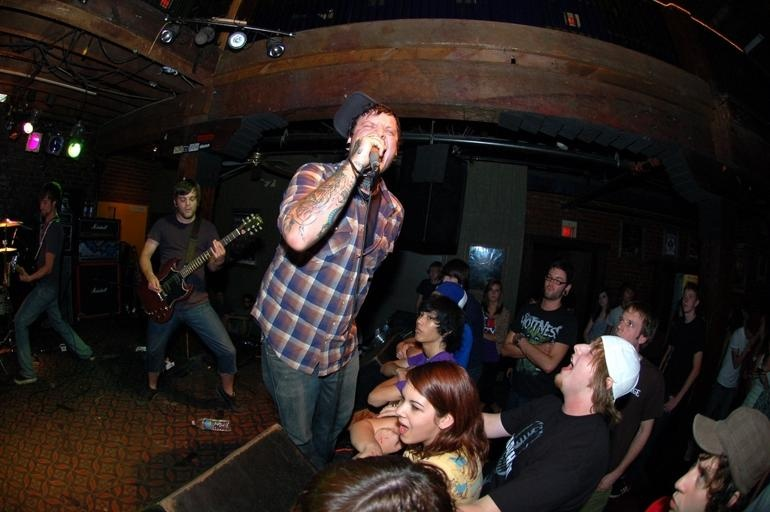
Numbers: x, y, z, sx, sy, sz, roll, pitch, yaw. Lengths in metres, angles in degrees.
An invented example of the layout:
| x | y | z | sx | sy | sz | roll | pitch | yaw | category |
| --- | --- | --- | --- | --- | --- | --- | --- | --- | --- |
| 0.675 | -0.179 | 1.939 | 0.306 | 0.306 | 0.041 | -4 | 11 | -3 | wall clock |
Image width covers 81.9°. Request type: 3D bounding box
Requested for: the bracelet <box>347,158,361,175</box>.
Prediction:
| x | y | z | sx | sy | sz | roll | pitch | yaw | category |
| --- | --- | --- | --- | --- | --- | --- | --- | --- | --- |
| -0.213 | -0.626 | 3.103 | 0.022 | 0.093 | 0.093 | -34 | 18 | 3 | bracelet |

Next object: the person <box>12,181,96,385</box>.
| x | y | z | sx | sy | sz | roll | pitch | yaw | category |
| --- | --- | --- | --- | --- | --- | --- | --- | --- | --- |
| -4.524 | 0.241 | 6.048 | 0.779 | 2.463 | 1.454 | 3 | 6 | -40 | person |

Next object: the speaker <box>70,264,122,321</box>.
| x | y | z | sx | sy | sz | roll | pitch | yaw | category |
| --- | --- | --- | --- | --- | --- | --- | --- | --- | --- |
| -5.878 | 0.683 | 8.880 | 0.895 | 1.279 | 0.906 | -8 | -8 | 41 | speaker |

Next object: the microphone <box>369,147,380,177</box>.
| x | y | z | sx | sy | sz | roll | pitch | yaw | category |
| --- | --- | --- | --- | --- | --- | --- | --- | --- | --- |
| -0.073 | -0.674 | 3.184 | 0.067 | 0.207 | 0.088 | 3 | -2 | -5 | microphone |

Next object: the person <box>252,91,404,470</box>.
| x | y | z | sx | sy | sz | roll | pitch | yaw | category |
| --- | --- | --- | --- | --- | --- | --- | --- | --- | --- |
| -0.455 | 0.236 | 3.380 | 1.028 | 3.022 | 0.592 | 5 | 5 | -17 | person |

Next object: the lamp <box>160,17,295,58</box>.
| x | y | z | sx | sy | sz | roll | pitch | yaw | category |
| --- | --- | --- | --- | --- | --- | --- | --- | --- | --- |
| -1.982 | -2.786 | 5.657 | 1.731 | 0.466 | 0.468 | 8 | 6 | 11 | lamp |

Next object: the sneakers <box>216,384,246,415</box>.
| x | y | z | sx | sy | sz | roll | pitch | yaw | category |
| --- | --- | --- | --- | --- | --- | --- | --- | --- | --- |
| -1.884 | 1.788 | 5.367 | 0.184 | 0.483 | 0.161 | -32 | -19 | -4 | sneakers |

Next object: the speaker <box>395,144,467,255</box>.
| x | y | z | sx | sy | sz | roll | pitch | yaw | category |
| --- | --- | --- | --- | --- | --- | --- | --- | --- | --- |
| 0.631 | -0.846 | 6.154 | 0.906 | 1.390 | 0.447 | 7 | 5 | 5 | speaker |

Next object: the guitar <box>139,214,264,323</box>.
| x | y | z | sx | sy | sz | roll | pitch | yaw | category |
| --- | --- | --- | --- | --- | --- | --- | --- | --- | --- |
| -2.174 | 0.198 | 5.426 | 1.829 | 0.786 | 0.192 | -40 | -10 | 4 | guitar |

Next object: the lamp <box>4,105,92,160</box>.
| x | y | z | sx | sy | sz | roll | pitch | yaw | category |
| --- | --- | --- | --- | --- | --- | --- | --- | --- | --- |
| -6.681 | -2.402 | 8.776 | 1.289 | 0.772 | 1.073 | 2 | 8 | -42 | lamp |

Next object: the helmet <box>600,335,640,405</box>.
| x | y | z | sx | sy | sz | roll | pitch | yaw | category |
| --- | --- | --- | --- | --- | --- | --- | --- | --- | --- |
| 1.820 | 0.865 | 3.389 | 0.249 | 0.463 | 0.335 | -20 | 11 | 46 | helmet |

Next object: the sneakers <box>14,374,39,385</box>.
| x | y | z | sx | sy | sz | roll | pitch | yaw | category |
| --- | --- | --- | --- | --- | --- | --- | --- | --- | --- |
| -4.420 | 1.532 | 5.509 | 0.102 | 0.116 | 0.247 | -3 | -13 | 35 | sneakers |

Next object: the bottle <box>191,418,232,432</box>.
| x | y | z | sx | sy | sz | roll | pitch | yaw | category |
| --- | --- | --- | --- | --- | --- | --- | --- | --- | --- |
| -1.935 | 1.878 | 4.959 | 0.261 | 0.072 | 0.191 | 4 | -6 | -7 | bottle |

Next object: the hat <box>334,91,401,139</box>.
| x | y | z | sx | sy | sz | roll | pitch | yaw | category |
| --- | --- | --- | --- | --- | --- | --- | --- | --- | --- |
| -0.141 | -1.097 | 3.520 | 0.500 | 0.323 | 0.148 | 21 | 31 | -22 | hat |
